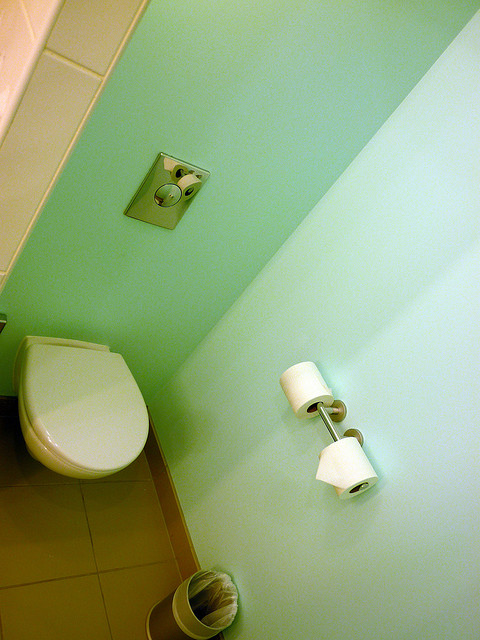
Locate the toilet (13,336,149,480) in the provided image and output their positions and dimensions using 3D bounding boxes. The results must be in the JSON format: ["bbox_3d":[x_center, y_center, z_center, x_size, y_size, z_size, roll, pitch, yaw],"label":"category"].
[{"bbox_3d":[-0.535,0.278,1.487,0.383,0.479,0.265,22,-60,-36],"label":"toilet"}]

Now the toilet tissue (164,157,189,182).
[{"bbox_3d":[-0.180,-0.408,1.333,0.045,0.033,0.078,-14,-18,31],"label":"toilet tissue"}]

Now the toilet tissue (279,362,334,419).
[{"bbox_3d":[0.179,0.187,1.286,0.119,0.128,0.104,-21,-43,1],"label":"toilet tissue"}]

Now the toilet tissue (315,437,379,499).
[{"bbox_3d":[0.251,0.345,1.129,0.116,0.131,0.124,26,-58,-37],"label":"toilet tissue"}]
